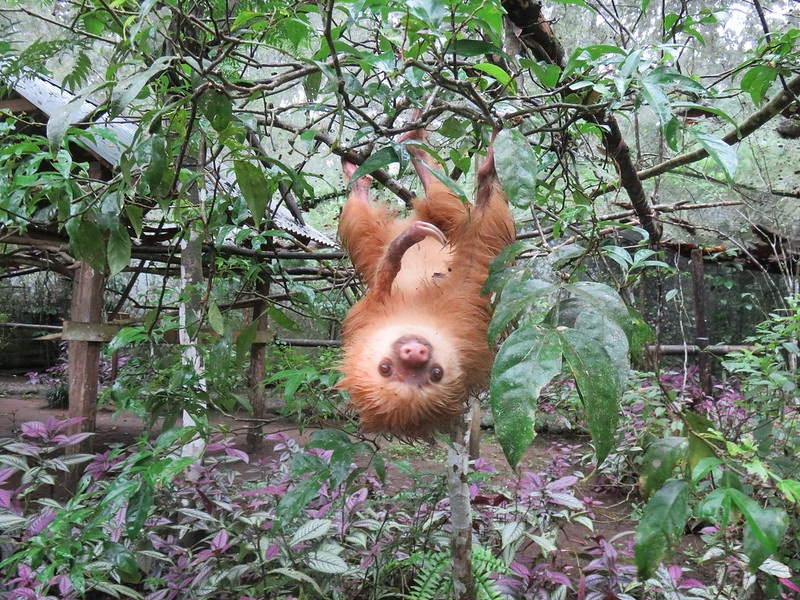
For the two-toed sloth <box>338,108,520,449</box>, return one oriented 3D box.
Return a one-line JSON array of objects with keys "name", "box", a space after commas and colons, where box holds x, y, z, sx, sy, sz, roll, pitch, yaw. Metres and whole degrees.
[{"name": "two-toed sloth", "box": [0.078, 0.091, 3.005, 0.774, 0.583, 1.363, 6, 18, 4]}]
